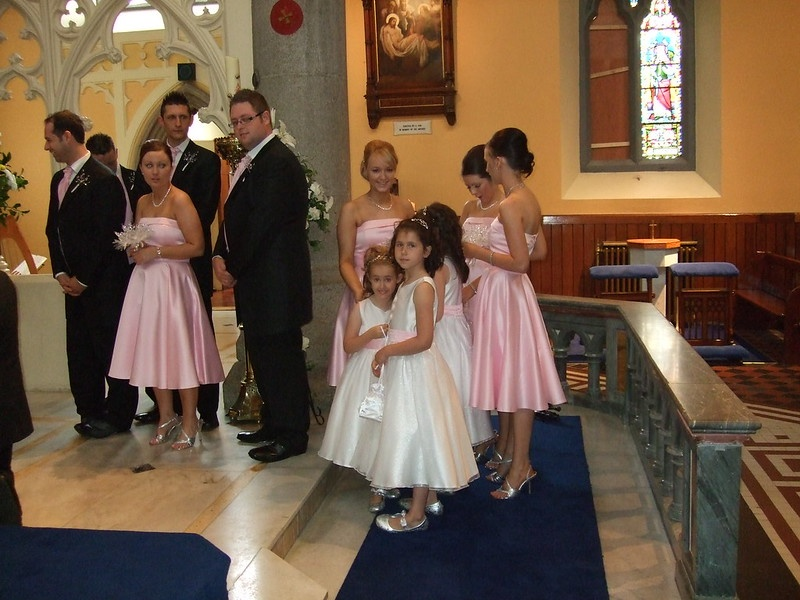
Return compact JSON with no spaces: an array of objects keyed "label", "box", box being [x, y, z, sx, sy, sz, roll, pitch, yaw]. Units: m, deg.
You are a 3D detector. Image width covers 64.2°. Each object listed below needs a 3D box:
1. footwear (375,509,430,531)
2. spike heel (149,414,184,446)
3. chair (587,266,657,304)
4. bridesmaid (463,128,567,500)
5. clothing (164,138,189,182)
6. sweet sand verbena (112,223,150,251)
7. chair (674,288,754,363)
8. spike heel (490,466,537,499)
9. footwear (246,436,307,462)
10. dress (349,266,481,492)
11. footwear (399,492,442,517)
[{"label":"footwear","box":[0.007,1.116,3.253,0.214,0.107,0.109,3,4,0]},{"label":"spike heel","box":[-1.498,0.824,4.083,0.083,0.077,0.254,-5,23,15]},{"label":"chair","box":[2.887,-0.038,8.210,0.704,0.659,0.456,-1,-2,10]},{"label":"bridesmaid","box":[0.631,0.096,3.715,0.566,2.133,0.608,0,15,10]},{"label":"clothing","box":[-1.520,-0.967,4.354,0.160,0.275,0.089,2,-5,0]},{"label":"sweet sand verbena","box":[-1.660,-0.384,3.922,0.291,0.161,0.175,10,12,36]},{"label":"chair","box":[3.856,0.315,7.890,1.079,1.023,1.214,-1,1,5]},{"label":"spike heel","box":[0.643,1.014,3.629,0.250,0.128,0.141,-4,7,-34]},{"label":"footwear","box":[-0.728,0.853,3.771,0.332,0.169,0.130,4,2,-26]},{"label":"dress","box":[0.101,0.388,3.792,0.736,1.627,0.999,2,-2,-3]},{"label":"footwear","box":[0.113,1.077,3.428,0.243,0.123,0.099,0,-2,24]}]
